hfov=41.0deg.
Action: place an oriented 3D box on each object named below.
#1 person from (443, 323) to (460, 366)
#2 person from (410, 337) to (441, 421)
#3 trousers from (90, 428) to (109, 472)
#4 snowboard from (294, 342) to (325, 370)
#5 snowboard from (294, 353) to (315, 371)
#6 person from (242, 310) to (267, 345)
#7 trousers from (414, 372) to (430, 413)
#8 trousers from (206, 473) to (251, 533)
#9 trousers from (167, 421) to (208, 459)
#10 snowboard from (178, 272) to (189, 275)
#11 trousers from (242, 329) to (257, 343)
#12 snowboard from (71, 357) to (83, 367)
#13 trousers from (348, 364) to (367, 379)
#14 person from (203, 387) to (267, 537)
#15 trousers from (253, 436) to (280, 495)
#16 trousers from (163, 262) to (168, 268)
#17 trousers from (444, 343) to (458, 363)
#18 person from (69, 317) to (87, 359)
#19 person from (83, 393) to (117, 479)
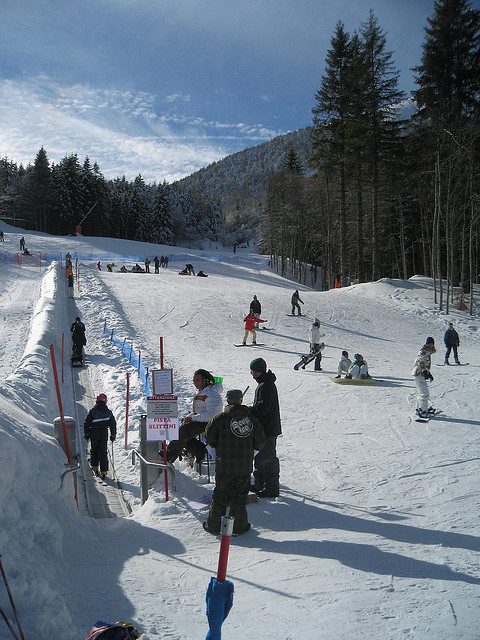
[{"bbox_3d":[6.553,0.734,20.014,0.485,1.259,0.967,-1,4,17],"label":"person"},{"bbox_3d":[3.791,1.163,13.110,0.526,1.603,1.286,-1,4,17],"label":"person"},{"bbox_3d":[-2.449,2.241,11.114,0.297,0.735,0.287,-4,4,-12],"label":"trousers"},{"bbox_3d":[2.151,1.161,20.014,0.919,0.323,0.239,-42,36,-19],"label":"snowboard"},{"bbox_3d":[1.954,1.302,19.590,0.557,0.143,0.225,-37,-23,4],"label":"snowboard"},{"bbox_3d":[0.512,0.319,23.999,1.041,1.173,0.430,18,49,21],"label":"person"},{"bbox_3d":[3.632,1.439,12.876,0.228,0.858,0.677,-2,4,15],"label":"trousers"},{"bbox_3d":[-0.152,1.985,7.364,0.510,0.980,0.311,3,15,-3],"label":"trousers"},{"bbox_3d":[-0.796,1.800,9.681,0.659,0.591,0.385,-2,4,7],"label":"trousers"},{"bbox_3d":[-4.173,-3.398,47.019,0.783,0.350,0.261,1,13,0],"label":"snowboard"},{"bbox_3d":[0.322,0.582,23.395,0.489,0.627,0.211,2,-3,-11],"label":"trousers"},{"bbox_3d":[-4.665,1.205,18.337,0.288,0.270,0.221,-4,4,-17],"label":"snowboard"},{"bbox_3d":[3.118,1.367,17.142,0.299,0.377,0.403,0,28,24],"label":"trousers"},{"bbox_3d":[-0.079,1.639,7.314,0.748,1.642,0.392,-3,4,-4],"label":"person"},{"bbox_3d":[0.331,1.943,8.642,0.351,0.825,0.245,-2,4,8],"label":"trousers"},{"bbox_3d":[-6.463,-4.752,55.039,0.572,0.530,0.140,0,-1,33],"label":"trousers"},{"bbox_3d":[6.567,1.030,20.056,0.400,0.650,0.830,-1,4,18],"label":"trousers"},{"bbox_3d":[-4.833,0.536,19.037,0.435,1.172,1.417,-4,4,-15],"label":"person"},{"bbox_3d":[-2.449,2.020,11.206,0.543,1.355,0.688,-4,4,-14],"label":"person"}]
